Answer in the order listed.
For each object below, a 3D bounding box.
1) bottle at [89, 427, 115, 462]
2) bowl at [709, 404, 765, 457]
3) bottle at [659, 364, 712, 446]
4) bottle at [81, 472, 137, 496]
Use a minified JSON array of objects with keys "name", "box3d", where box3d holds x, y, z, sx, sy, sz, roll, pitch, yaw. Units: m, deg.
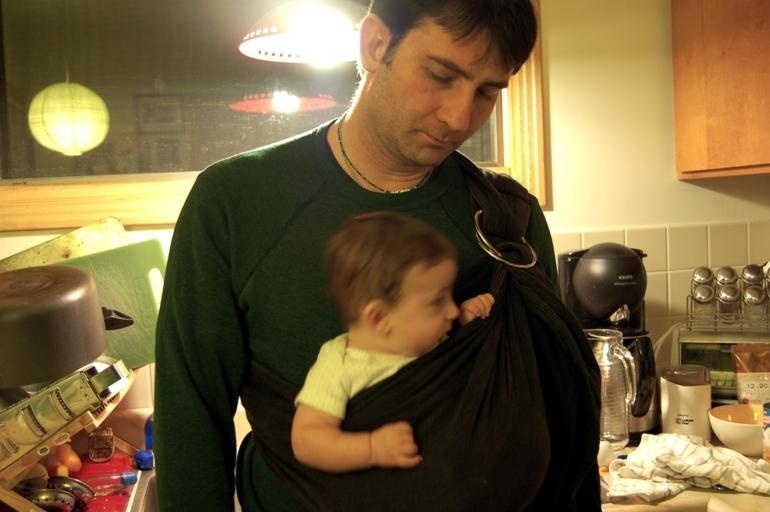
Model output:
[{"name":"bottle","box3d":[-0.920,0.607,2.087,0.092,0.112,0.034,1,3,-10]},{"name":"bowl","box3d":[1.128,0.549,2.085,0.155,0.082,0.153,-2,-4,0]},{"name":"bottle","box3d":[1.002,0.494,2.168,0.150,0.241,0.167,-3,1,-37]},{"name":"bottle","box3d":[-0.835,0.689,1.981,0.208,0.057,0.067,-1,44,5]}]
